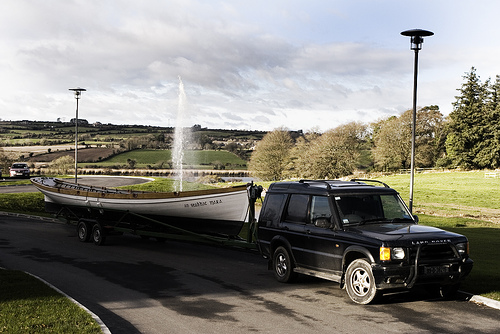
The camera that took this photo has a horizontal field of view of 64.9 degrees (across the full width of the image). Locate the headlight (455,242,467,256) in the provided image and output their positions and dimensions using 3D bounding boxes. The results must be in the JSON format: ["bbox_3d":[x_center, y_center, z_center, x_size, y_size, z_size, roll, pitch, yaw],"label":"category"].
[{"bbox_3d":[5.889,2.285,10.951,0.261,0.330,0.368,0,-4,6],"label":"headlight"}]

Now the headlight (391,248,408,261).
[{"bbox_3d":[3.971,2.317,10.520,0.528,0.361,0.297,0,-4,1],"label":"headlight"}]

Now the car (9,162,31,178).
[{"bbox_3d":[-43.866,0.601,75.251,3.180,2.443,5.111,1,-4,-24],"label":"car"}]

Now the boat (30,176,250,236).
[{"bbox_3d":[-5.490,1.754,19.222,13.650,2.230,1.332,0,1,36],"label":"boat"}]

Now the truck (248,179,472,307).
[{"bbox_3d":[2.953,2.225,12.681,3.398,2.671,6.057,2,-5,-31],"label":"truck"}]

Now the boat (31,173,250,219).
[{"bbox_3d":[-5.044,1.402,18.530,12.046,1.492,0.460,0,1,33],"label":"boat"}]
